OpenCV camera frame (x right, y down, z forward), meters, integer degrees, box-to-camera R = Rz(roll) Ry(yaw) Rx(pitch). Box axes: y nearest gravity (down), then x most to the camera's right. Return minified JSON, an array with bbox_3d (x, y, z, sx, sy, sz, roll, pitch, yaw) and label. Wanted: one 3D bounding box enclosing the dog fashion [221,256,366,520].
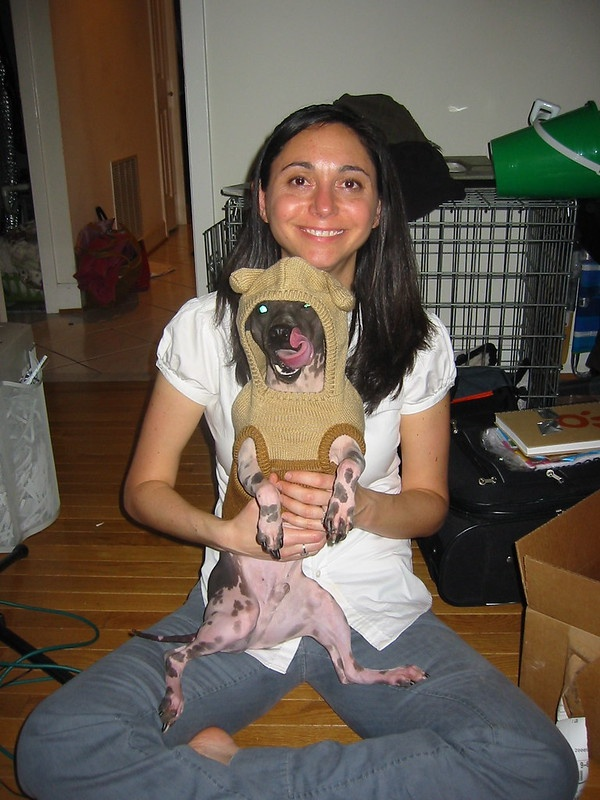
[{"bbox_3d":[-0.024,0.008,0.978,0.245,0.447,0.174,-1,15,1],"label":"dog fashion"}]
